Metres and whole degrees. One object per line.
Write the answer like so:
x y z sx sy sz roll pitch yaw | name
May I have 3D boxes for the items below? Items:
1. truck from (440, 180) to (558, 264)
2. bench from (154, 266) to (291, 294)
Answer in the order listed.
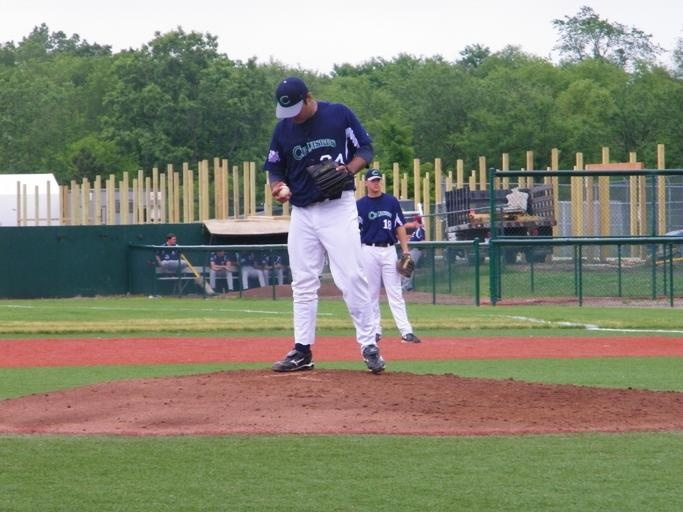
7.780 -1.715 83.042 4.844 2.701 3.294 1 -5 -9 | truck
-6.261 1.011 78.783 7.618 1.138 1.692 -4 -4 15 | bench
